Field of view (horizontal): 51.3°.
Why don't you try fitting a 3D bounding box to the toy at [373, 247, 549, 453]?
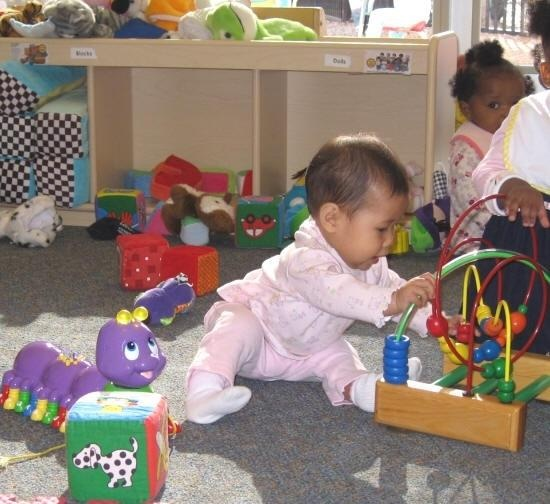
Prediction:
[{"bbox_3d":[0.258,0.124,0.953,0.313,0.120,0.443,7,20,27],"label":"toy"}]
